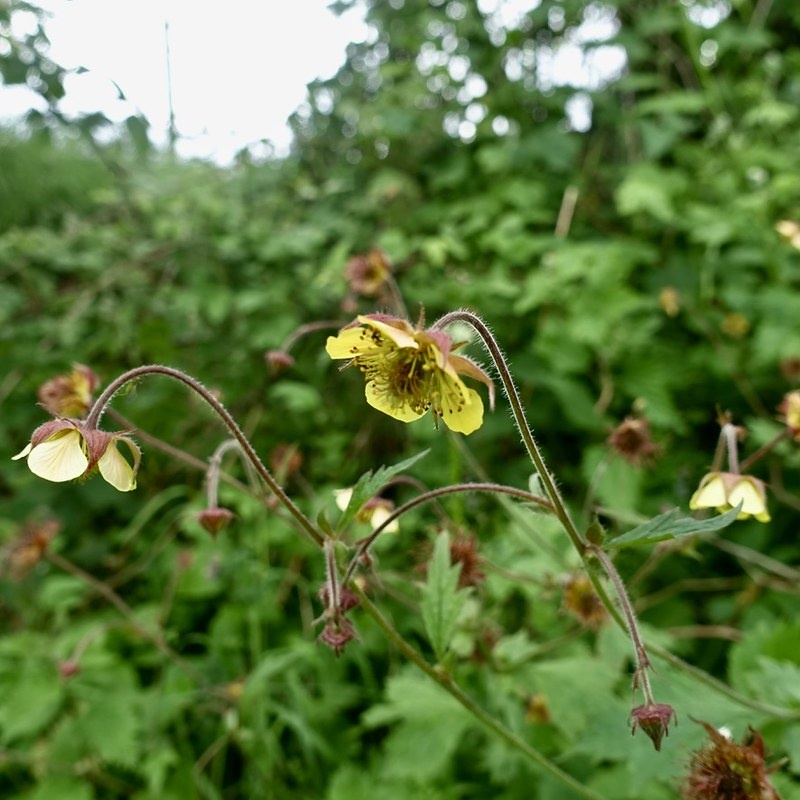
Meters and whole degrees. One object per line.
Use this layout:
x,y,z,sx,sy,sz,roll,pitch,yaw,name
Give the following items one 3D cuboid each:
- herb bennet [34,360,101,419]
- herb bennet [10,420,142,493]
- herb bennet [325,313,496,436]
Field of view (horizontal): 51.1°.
-0.849,-0.020,2.157,0.122,0.121,0.149,-11,6,-38,herb bennet
-0.670,0.087,1.737,0.246,0.083,0.229,5,16,-38,herb bennet
0.063,-0.100,1.733,0.321,0.276,0.124,0,46,37,herb bennet
